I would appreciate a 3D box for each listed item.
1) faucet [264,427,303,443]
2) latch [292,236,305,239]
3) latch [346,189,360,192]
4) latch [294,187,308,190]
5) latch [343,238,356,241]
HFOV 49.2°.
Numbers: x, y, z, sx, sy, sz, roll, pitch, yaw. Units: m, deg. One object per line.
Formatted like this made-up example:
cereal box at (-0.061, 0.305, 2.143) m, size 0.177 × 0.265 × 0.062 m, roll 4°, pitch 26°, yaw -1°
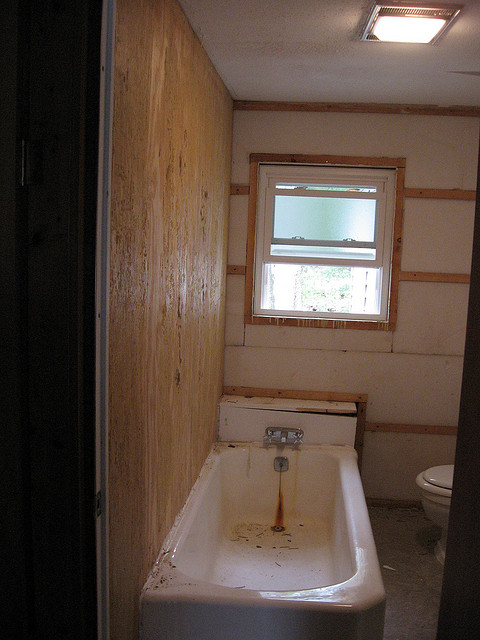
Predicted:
faucet at (0.249, 0.637, 2.942) m, size 0.204 × 0.070 × 0.113 m, roll 2°, pitch 1°, yaw 2°
latch at (0.360, -0.509, 3.187) m, size 0.064 × 0.016 × 0.007 m, roll 2°, pitch 1°, yaw 12°
latch at (0.686, -0.789, 3.158) m, size 0.079 × 0.015 × 0.028 m, roll 2°, pitch 1°, yaw -3°
latch at (0.369, -0.807, 3.179) m, size 0.074 × 0.019 × 0.029 m, roll 2°, pitch 1°, yaw -12°
latch at (0.662, -0.493, 3.158) m, size 0.063 × 0.016 × 0.014 m, roll 2°, pitch 1°, yaw -5°
